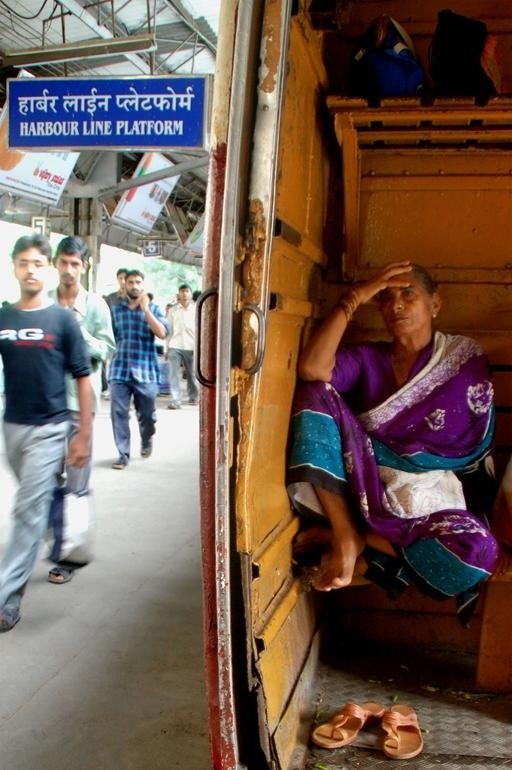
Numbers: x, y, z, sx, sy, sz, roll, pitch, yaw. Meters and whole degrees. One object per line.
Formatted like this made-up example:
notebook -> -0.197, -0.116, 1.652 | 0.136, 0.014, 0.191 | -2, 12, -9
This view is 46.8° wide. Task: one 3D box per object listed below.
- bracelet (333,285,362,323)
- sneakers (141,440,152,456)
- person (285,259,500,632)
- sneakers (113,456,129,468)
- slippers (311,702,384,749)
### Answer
bracelet -> 0.323, -0.277, 2.049 | 0.050, 0.112, 0.074 | -15, 3, 3
sneakers -> -1.120, 0.667, 6.192 | 0.079, 0.200, 0.087 | -1, -5, 9
person -> 0.473, 0.101, 1.970 | 0.716, 1.033, 0.657 | 6, 0, -13
sneakers -> -1.303, 0.771, 5.801 | 0.073, 0.085, 0.209 | -2, -11, 4
slippers -> 0.254, 0.915, 1.637 | 0.075, 0.060, 0.208 | 0, -8, 34
